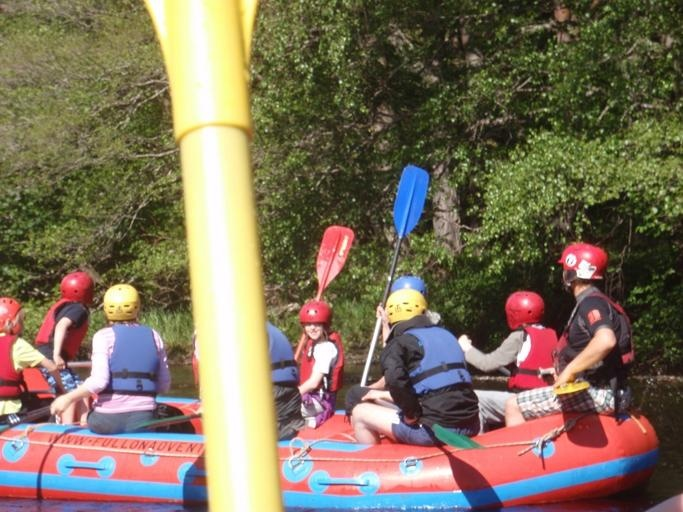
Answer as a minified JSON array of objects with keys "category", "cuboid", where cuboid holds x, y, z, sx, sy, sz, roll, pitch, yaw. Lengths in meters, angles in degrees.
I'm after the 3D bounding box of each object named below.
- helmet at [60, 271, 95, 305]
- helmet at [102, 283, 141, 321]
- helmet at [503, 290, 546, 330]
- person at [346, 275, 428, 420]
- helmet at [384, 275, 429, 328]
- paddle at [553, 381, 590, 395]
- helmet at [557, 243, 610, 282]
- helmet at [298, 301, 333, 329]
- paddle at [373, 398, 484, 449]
[{"category":"helmet","cuboid":[-3.155,0.378,10.583,0.275,0.412,0.408,2,10,-1]},{"category":"helmet","cuboid":[-2.320,0.500,9.406,0.263,0.365,0.397,-4,0,-5]},{"category":"helmet","cuboid":[1.955,0.581,9.556,0.321,0.419,0.392,-1,6,-35]},{"category":"person","cuboid":[0.350,0.901,9.694,0.786,1.663,0.436,23,-6,-36]},{"category":"helmet","cuboid":[0.673,0.462,9.077,0.360,0.525,0.548,1,10,10]},{"category":"paddle","cuboid":[2.084,1.208,8.095,0.206,0.074,0.243,-10,-15,-2]},{"category":"helmet","cuboid":[2.401,0.050,8.796,0.394,0.418,0.333,10,7,42]},{"category":"helmet","cuboid":[-0.283,0.662,10.068,0.224,0.307,0.341,1,5,6]},{"category":"paddle","cuboid":[0.864,1.649,8.653,1.272,0.198,0.163,17,-23,47]}]
